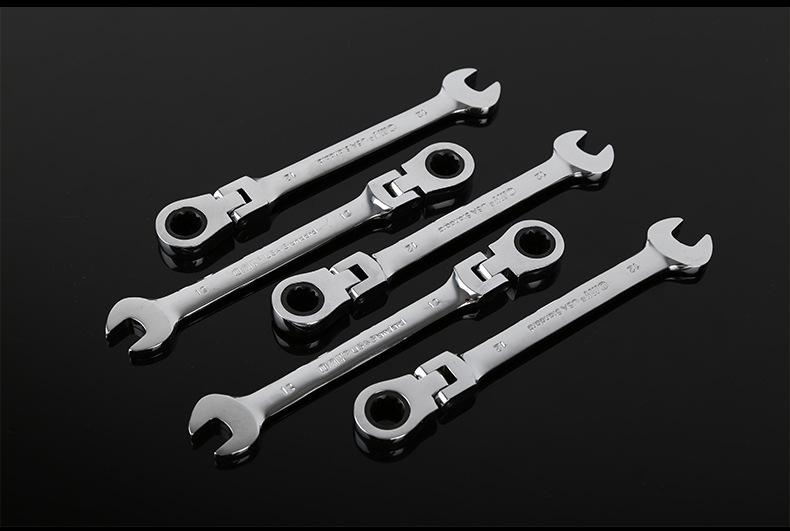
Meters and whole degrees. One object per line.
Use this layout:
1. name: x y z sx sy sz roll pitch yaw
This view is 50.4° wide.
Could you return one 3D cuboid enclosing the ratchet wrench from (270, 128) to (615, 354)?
1. ratchet wrench: 0.146 -0.049 2.606 1.110 0.103 0.194 -29 46 -16
